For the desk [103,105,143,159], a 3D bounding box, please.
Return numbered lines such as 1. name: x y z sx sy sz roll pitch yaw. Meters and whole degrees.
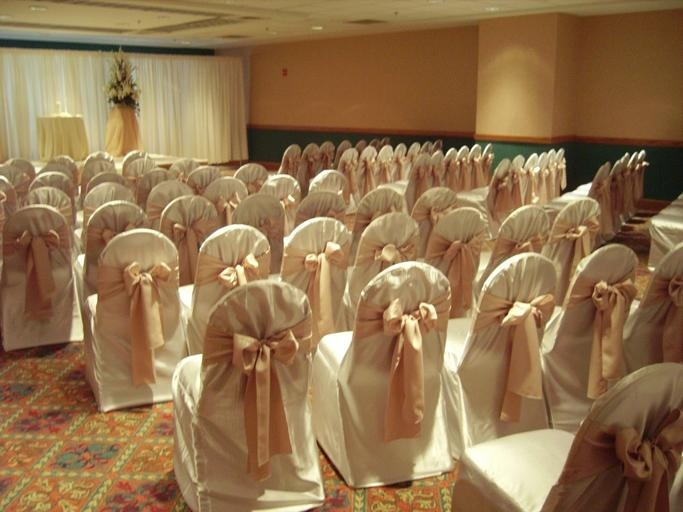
1. desk: -3.994 -2.192 10.760 0.594 1.064 0.509 -4 -16 -15
